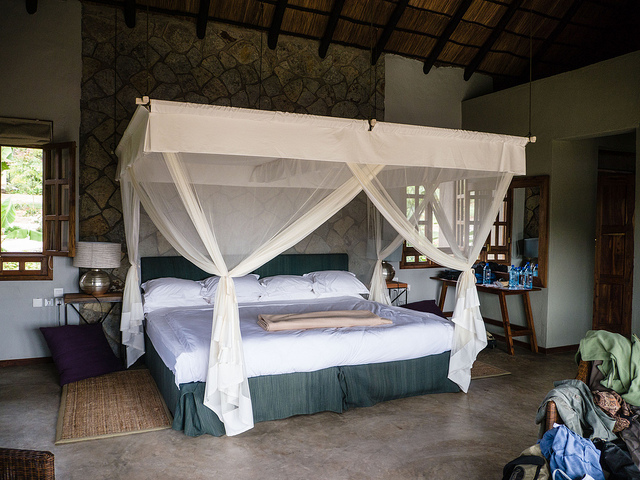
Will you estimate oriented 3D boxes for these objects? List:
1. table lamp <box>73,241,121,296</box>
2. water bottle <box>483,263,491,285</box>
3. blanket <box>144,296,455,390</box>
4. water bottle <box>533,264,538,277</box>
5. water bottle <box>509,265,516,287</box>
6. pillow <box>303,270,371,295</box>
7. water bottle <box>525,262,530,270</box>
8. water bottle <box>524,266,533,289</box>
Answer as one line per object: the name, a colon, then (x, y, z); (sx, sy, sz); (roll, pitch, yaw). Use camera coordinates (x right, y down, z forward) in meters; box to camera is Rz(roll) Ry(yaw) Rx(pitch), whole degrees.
table lamp: (-2.747, 0.327, 5.506); (0.503, 0.666, 0.526); (5, 3, -5)
water bottle: (2.483, 0.498, 6.722); (0.103, 0.264, 0.360); (3, 6, 21)
blanket: (-0.209, 0.975, 4.934); (3.028, 0.399, 1.608); (-1, 6, -20)
water bottle: (2.993, 0.427, 6.280); (0.032, 0.167, 0.084); (-1, 6, -14)
water bottle: (2.750, 0.509, 6.451); (0.086, 0.253, 0.435); (3, 6, 22)
pillow: (0.222, 0.579, 6.374); (0.941, 0.282, 0.591); (5, 3, -28)
water bottle: (2.936, 0.364, 6.418); (0.095, 0.021, 0.027); (-55, 2, -31)
water bottle: (2.914, 0.508, 6.318); (0.108, 0.267, 0.182); (4, 7, 27)
